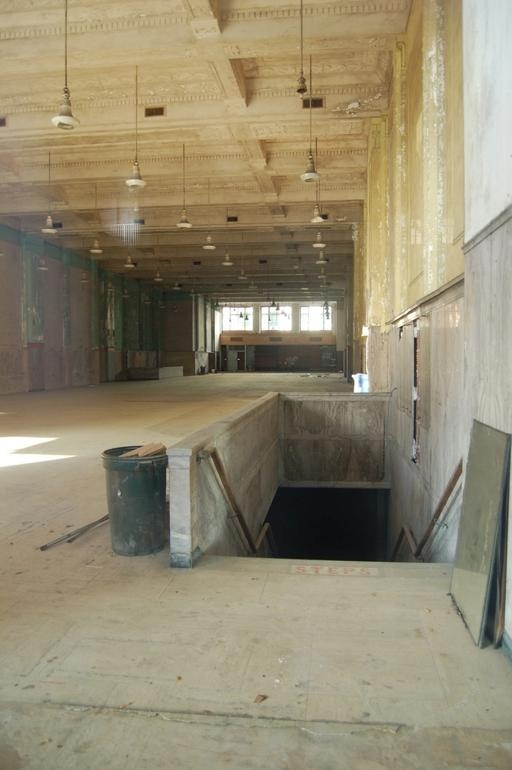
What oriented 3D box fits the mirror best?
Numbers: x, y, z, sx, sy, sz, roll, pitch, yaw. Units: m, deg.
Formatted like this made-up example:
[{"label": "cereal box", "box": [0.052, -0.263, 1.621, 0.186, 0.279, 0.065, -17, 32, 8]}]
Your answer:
[{"label": "mirror", "box": [1.180, 0.785, 2.815, 0.067, 1.281, 1.037, 5, -1, 8]}]
